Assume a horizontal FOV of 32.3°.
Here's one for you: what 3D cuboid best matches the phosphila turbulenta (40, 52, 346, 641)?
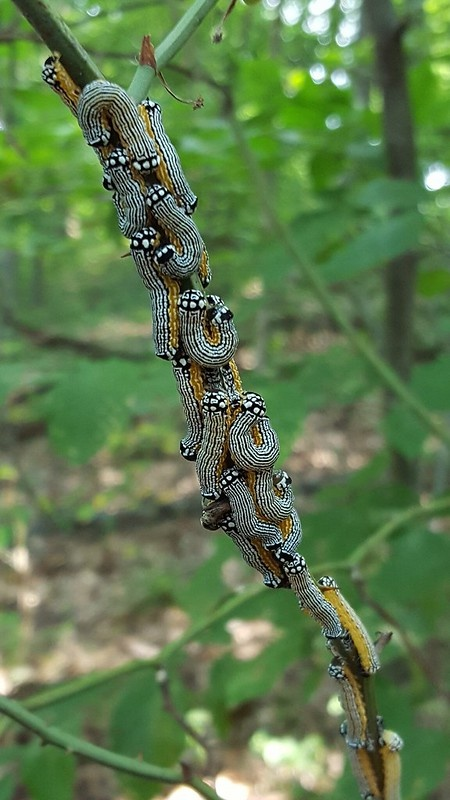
[{"bbox_3d":[-0.033,-0.071,0.864,0.169,0.745,0.132,-28,4,-9],"label":"phosphila turbulenta"}]
